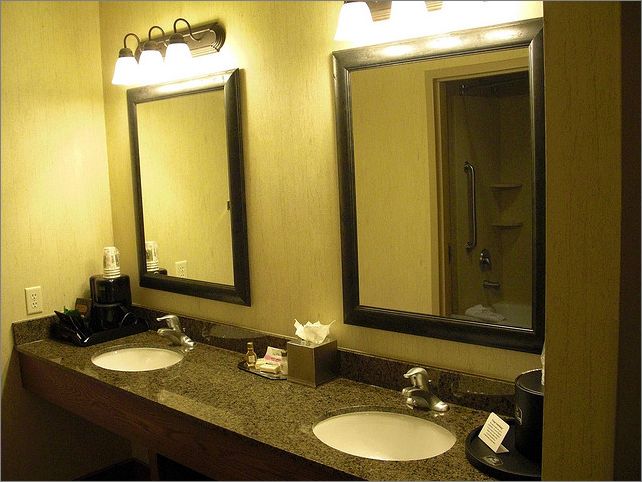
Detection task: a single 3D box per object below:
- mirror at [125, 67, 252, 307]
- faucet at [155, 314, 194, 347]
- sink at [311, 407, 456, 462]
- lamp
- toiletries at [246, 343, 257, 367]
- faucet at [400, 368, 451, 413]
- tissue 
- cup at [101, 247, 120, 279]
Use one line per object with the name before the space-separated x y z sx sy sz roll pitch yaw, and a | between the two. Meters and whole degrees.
mirror | -0.649 -0.297 2.533 1.049 1.316 0.057 5 9 43
faucet | -0.742 0.473 2.582 0.083 0.182 0.225 -9 -3 36
sink | 0.224 0.686 1.733 0.463 0.137 0.196 1 11 18
lamp | -0.786 -0.925 2.466 0.644 0.285 0.227 -2 10 27
toiletries | -0.312 0.501 2.229 0.047 0.096 0.093 -4 10 -11
faucet | 0.380 0.535 1.827 0.187 0.159 0.175 -4 -1 39
tissue  | -0.035 0.449 2.084 0.194 0.235 0.199 4 12 34
cup | -1.179 0.115 2.807 0.086 0.156 0.197 -7 11 -24
